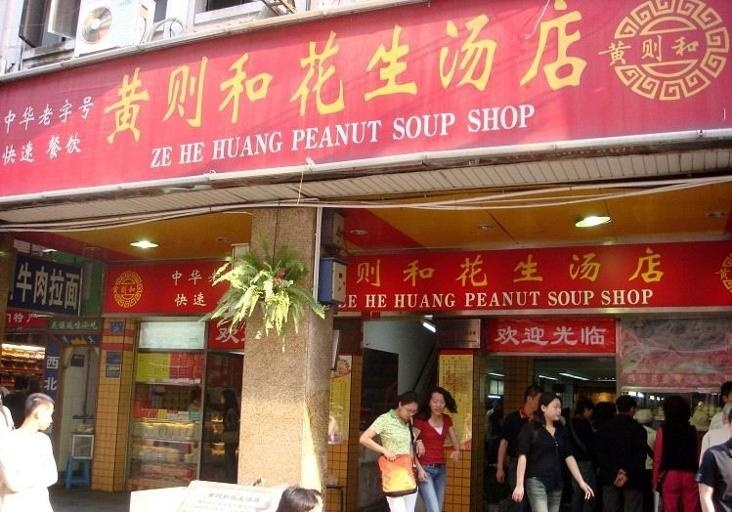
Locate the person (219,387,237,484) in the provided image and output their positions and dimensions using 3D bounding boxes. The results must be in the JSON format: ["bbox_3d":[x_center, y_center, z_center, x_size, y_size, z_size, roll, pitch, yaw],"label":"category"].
[{"bbox_3d":[-2.149,2.806,9.936,0.357,1.402,0.198,10,-15,-34],"label":"person"}]

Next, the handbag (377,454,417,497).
[{"bbox_3d":[0.317,2.272,6.606,0.465,0.402,0.142,-3,-12,-16],"label":"handbag"}]

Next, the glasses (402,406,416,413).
[{"bbox_3d":[0.463,1.626,6.734,0.097,0.061,0.117,5,-5,-2],"label":"glasses"}]

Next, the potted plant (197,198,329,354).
[{"bbox_3d":[-1.006,0.253,6.539,1.339,1.310,1.417,2,-22,21],"label":"potted plant"}]

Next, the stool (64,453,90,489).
[{"bbox_3d":[-4.760,3.512,10.404,0.370,0.504,0.652,7,-13,-26],"label":"stool"}]

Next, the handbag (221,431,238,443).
[{"bbox_3d":[-2.164,2.854,10.031,0.200,0.170,0.120,-5,1,-12],"label":"handbag"}]

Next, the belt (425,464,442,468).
[{"bbox_3d":[0.766,2.364,7.120,0.194,0.046,0.026,5,-13,-22],"label":"belt"}]
